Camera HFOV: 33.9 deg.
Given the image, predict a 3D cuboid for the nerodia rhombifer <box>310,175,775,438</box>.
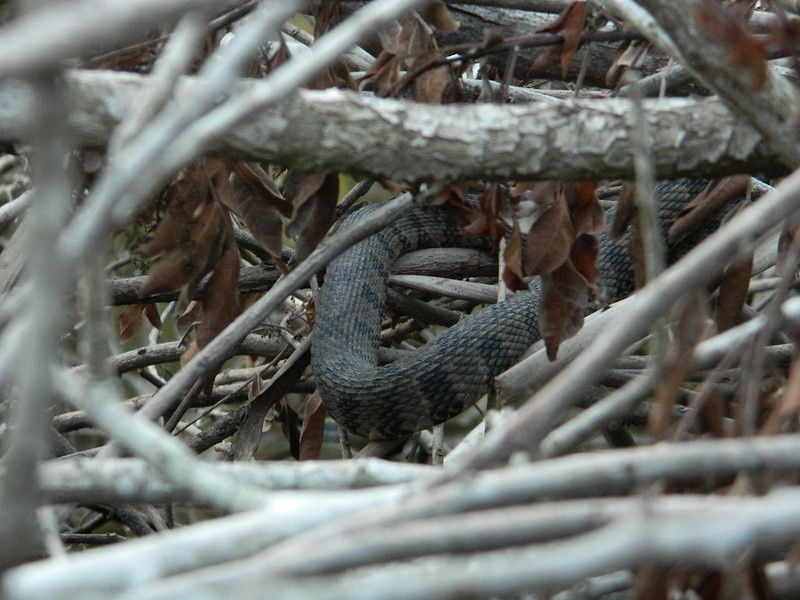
[{"bbox_3d":[0.346,0.006,4.483,1.237,0.313,0.892,-28,28,2],"label":"nerodia rhombifer"}]
